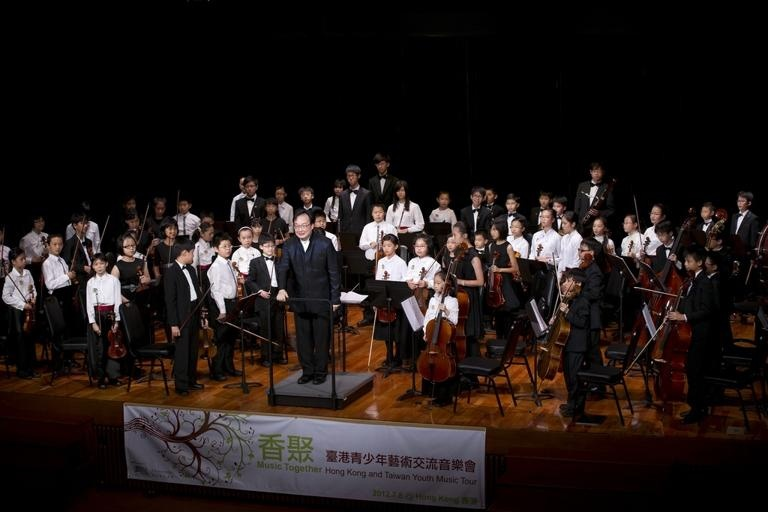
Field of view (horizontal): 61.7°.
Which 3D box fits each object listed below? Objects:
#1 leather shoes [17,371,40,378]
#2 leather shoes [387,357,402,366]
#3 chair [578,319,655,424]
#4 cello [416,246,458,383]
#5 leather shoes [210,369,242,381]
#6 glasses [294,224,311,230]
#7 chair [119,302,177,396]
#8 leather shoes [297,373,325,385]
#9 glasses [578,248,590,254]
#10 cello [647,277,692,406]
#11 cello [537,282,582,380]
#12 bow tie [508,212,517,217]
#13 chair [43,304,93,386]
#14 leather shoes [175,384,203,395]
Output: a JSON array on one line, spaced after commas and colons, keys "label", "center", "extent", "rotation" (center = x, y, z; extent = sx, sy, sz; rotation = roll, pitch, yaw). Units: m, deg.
[{"label": "leather shoes", "center": [-5.239, 1.738, 9.515], "extent": [0.314, 0.131, 0.102], "rotation": [-1, 2, -1]}, {"label": "leather shoes", "center": [0.151, 1.556, 9.461], "extent": [0.203, 0.205, 0.119], "rotation": [8, -12, -30]}, {"label": "chair", "center": [3.037, 1.423, 8.274], "extent": [0.729, 1.206, 1.459], "rotation": [1, 3, 31]}, {"label": "cello", "center": [0.695, 0.864, 8.129], "extent": [0.479, 1.478, 0.470], "rotation": [0, 3, 16]}, {"label": "leather shoes", "center": [-2.274, 1.716, 9.225], "extent": [0.450, 0.193, 0.155], "rotation": [0, 5, -4]}, {"label": "glasses", "center": [-1.060, -0.382, 8.432], "extent": [0.216, 0.090, 0.122], "rotation": [-1, 2, -7]}, {"label": "chair", "center": [-3.292, 1.254, 9.049], "extent": [0.723, 1.216, 0.704], "rotation": [-1, 3, 5]}, {"label": "leather shoes", "center": [-0.950, 1.641, 8.554], "extent": [0.383, 0.157, 0.143], "rotation": [4, 37, -8]}, {"label": "glasses", "center": [2.495, -0.063, 8.014], "extent": [0.069, 0.084, 0.151], "rotation": [-1, 2, -19]}, {"label": "cello", "center": [3.615, 1.110, 8.106], "extent": [0.435, 1.624, 0.651], "rotation": [1, 3, 23]}, {"label": "cello", "center": [2.148, 0.924, 8.019], "extent": [0.556, 1.261, 0.356], "rotation": [1, 3, 27]}, {"label": "bow tie", "center": [2.263, -0.728, 11.339], "extent": [0.131, 0.103, 0.175], "rotation": [1, 9, 15]}, {"label": "chair", "center": [-4.606, 1.205, 9.519], "extent": [0.746, 1.250, 0.702], "rotation": [2, 5, -3]}, {"label": "leather shoes", "center": [-2.675, 1.783, 8.876], "extent": [0.395, 0.170, 0.151], "rotation": [-5, 12, -32]}]
